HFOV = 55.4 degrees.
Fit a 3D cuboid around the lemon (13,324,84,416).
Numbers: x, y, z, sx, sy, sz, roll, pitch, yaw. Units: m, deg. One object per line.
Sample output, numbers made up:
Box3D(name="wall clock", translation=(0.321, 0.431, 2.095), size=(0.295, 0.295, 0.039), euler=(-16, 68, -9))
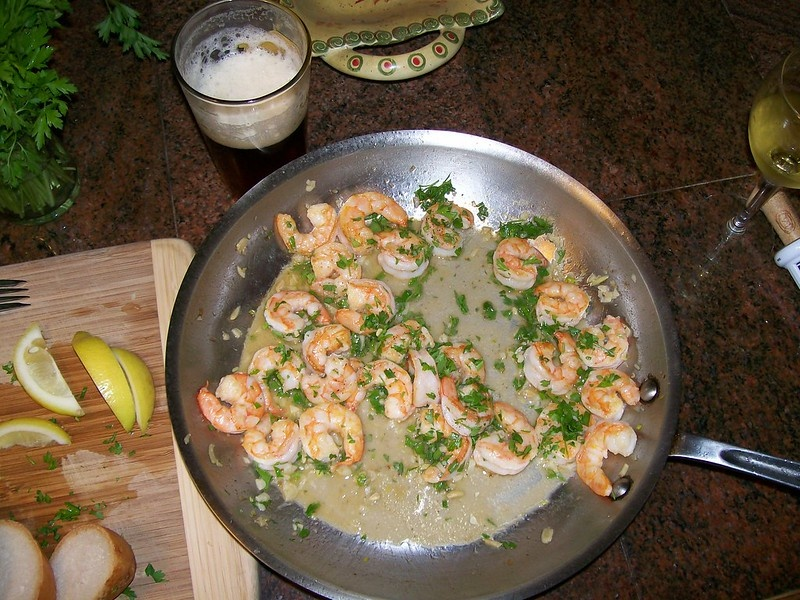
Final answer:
Box3D(name="lemon", translation=(-0.992, 0.201, 2.096), size=(0.342, 0.121, 0.048), euler=(54, 130, 22))
